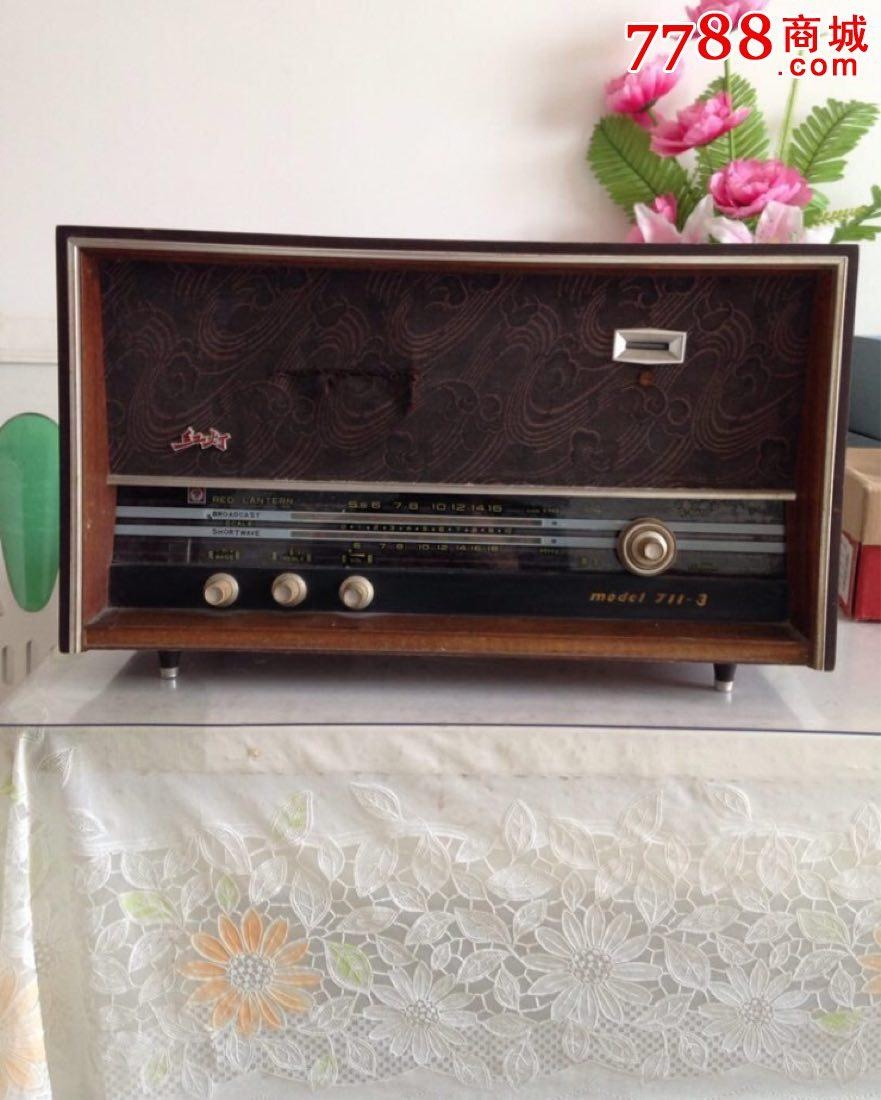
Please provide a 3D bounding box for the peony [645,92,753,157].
[{"bbox_3d":[0.348,-0.562,1.411,0.113,0.071,0.107,-13,18,-30],"label":"peony"}]
